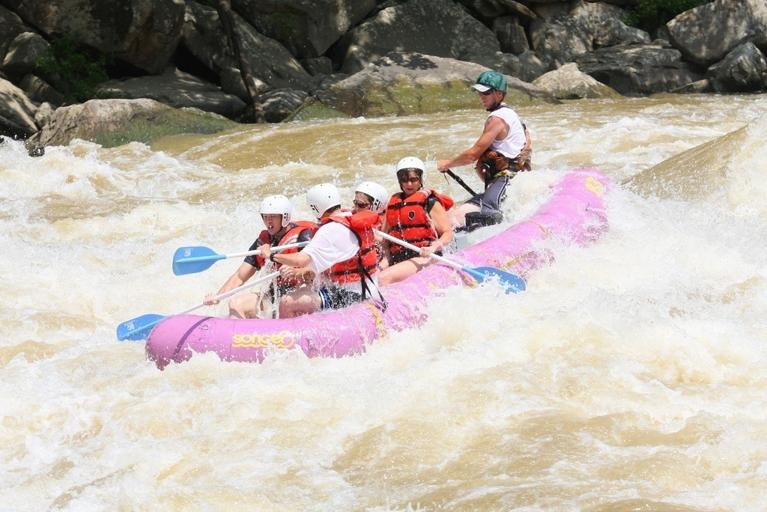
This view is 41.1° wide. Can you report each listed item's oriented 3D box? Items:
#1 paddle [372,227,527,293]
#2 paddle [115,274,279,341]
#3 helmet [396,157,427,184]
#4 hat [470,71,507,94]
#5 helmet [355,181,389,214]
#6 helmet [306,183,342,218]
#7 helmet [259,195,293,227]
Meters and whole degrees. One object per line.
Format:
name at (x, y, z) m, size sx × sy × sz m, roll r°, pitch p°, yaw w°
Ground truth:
paddle at (0.770, 0.060, 12.260) m, size 2.104 × 0.282 × 0.138 m, roll 18°, pitch -1°, yaw 13°
paddle at (-2.233, 0.623, 12.224) m, size 1.864 × 0.131 × 0.312 m, roll -17°, pitch 57°, yaw -5°
helmet at (0.332, -1.141, 12.781) m, size 0.289 × 0.364 × 0.276 m, roll -3°, pitch 72°, yaw 5°
hat at (1.390, -2.261, 13.373) m, size 0.373 × 0.316 × 0.450 m, roll 3°, pitch 33°, yaw 26°
helmet at (-0.108, -0.707, 12.184) m, size 0.422 × 0.285 × 0.313 m, roll 2°, pitch 6°, yaw -18°
helmet at (-0.713, -0.703, 11.975) m, size 0.335 × 0.363 × 0.433 m, roll -26°, pitch 31°, yaw -29°
helmet at (-1.282, -0.563, 12.226) m, size 0.307 × 0.284 × 0.399 m, roll -2°, pitch 13°, yaw 36°
